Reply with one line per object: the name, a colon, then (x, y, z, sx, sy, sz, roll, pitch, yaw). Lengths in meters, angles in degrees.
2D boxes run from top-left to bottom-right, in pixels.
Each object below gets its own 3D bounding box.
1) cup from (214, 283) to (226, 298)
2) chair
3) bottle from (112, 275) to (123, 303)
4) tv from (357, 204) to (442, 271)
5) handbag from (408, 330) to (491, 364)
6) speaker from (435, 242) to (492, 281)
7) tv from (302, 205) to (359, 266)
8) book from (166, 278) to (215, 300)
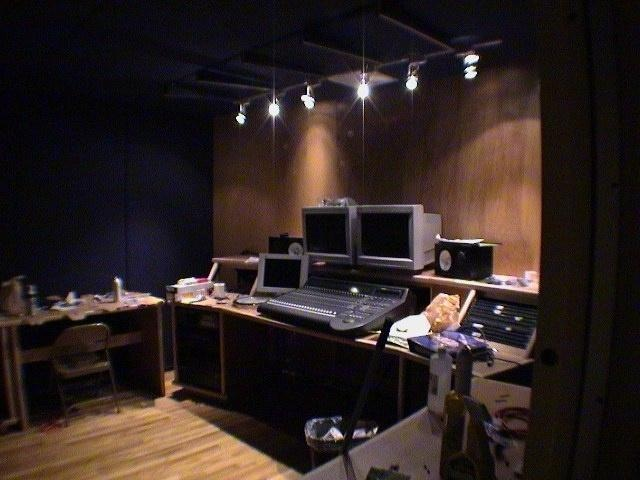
cup: (-0.664, 0.341, 3.298, 0.079, 0.100, 0.079, -3, -1, 0)
chair: (-1.427, 0.745, 2.928, 0.337, 0.566, 0.387, -4, 8, -23)
bottle: (-1.216, 0.308, 2.948, 0.057, 0.175, 0.273, 0, 6, -22)
tv: (0.463, -0.042, 2.754, 0.360, 0.343, 0.427, 4, 9, 39)
handbag: (0.550, 0.442, 2.052, 0.201, 0.059, 0.209, 1, 1, -23)
speaker: (0.723, 0.099, 2.532, 0.156, 0.205, 0.259, -8, 11, -35)
tv: (0.075, -0.047, 2.913, 0.318, 0.323, 0.208, 3, 10, 30)
book: (-0.866, 0.334, 3.308, 0.133, 0.115, 0.230, 10, 15, 40)
